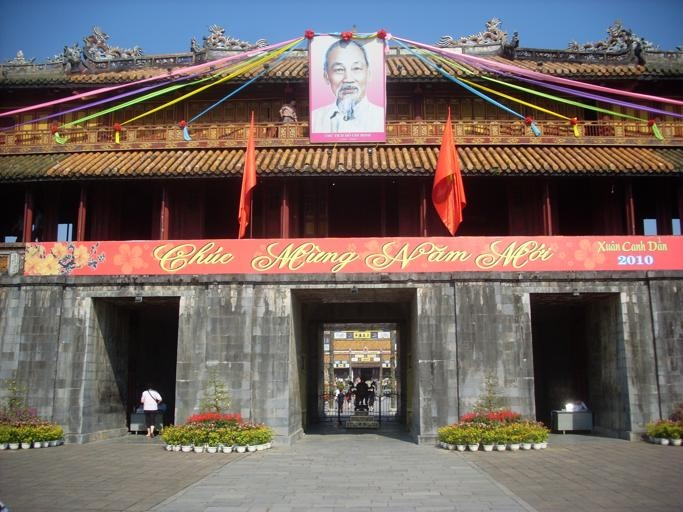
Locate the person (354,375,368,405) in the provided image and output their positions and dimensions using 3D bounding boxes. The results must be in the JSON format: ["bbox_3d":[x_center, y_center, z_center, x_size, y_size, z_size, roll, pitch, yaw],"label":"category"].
[{"bbox_3d":[0.843,5.636,23.478,0.484,1.247,0.613,-2,-13,8],"label":"person"}]

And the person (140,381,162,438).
[{"bbox_3d":[-6.363,5.139,18.942,0.613,1.682,0.816,4,-14,-19],"label":"person"}]
